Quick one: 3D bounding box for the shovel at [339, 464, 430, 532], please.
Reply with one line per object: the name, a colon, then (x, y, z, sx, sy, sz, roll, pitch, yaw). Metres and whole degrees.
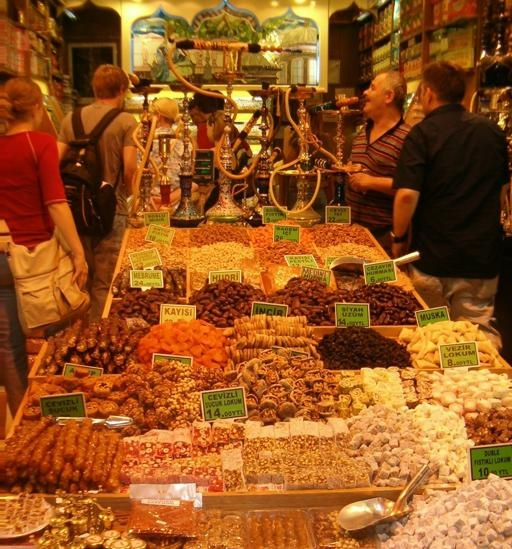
shovel: (0.365, 0.578, 1.195, 0.332, 0.071, 0.095, -9, 20, -25)

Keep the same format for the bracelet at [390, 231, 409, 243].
bracelet: (0.951, -0.232, 3.068, 0.117, 0.059, 0.110, 1, 0, -11)
